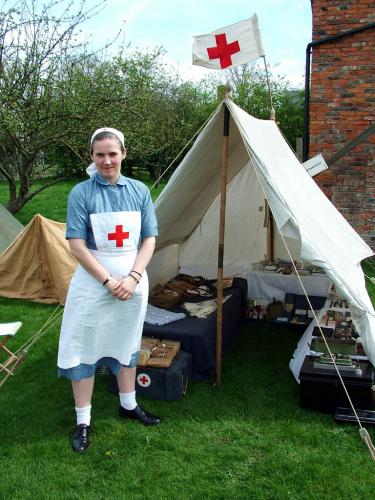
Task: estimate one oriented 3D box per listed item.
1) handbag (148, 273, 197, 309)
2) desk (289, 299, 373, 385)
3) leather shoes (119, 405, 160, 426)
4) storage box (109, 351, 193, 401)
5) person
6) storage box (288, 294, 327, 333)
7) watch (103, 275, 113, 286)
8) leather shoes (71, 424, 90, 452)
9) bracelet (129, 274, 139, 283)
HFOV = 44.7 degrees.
[{"bbox_3d":[-0.158,0.427,4.666,0.280,0.071,0.507,7,14,18],"label":"handbag"},{"bbox_3d":[1.117,0.678,3.652,0.543,0.186,0.753,3,19,22],"label":"desk"},{"bbox_3d":[-0.293,1.056,2.954,0.285,0.091,0.100,8,13,11],"label":"leather shoes"},{"bbox_3d":[-0.165,0.952,3.524,0.636,0.229,0.614,0,3,15],"label":"storage box"},{"bbox_3d":[-0.450,0.226,2.635,0.551,1.820,0.514,-1,8,0],"label":"person"},{"bbox_3d":[1.268,0.686,4.995,0.382,0.212,0.358,8,27,26],"label":"storage box"},{"bbox_3d":[-0.423,0.161,2.401,0.014,0.043,0.047,40,35,11],"label":"watch"},{"bbox_3d":[-0.619,1.089,2.648,0.069,0.059,0.172,0,11,-6],"label":"leather shoes"},{"bbox_3d":[-0.286,0.150,2.454,0.021,0.050,0.043,-44,-7,-8],"label":"bracelet"}]
